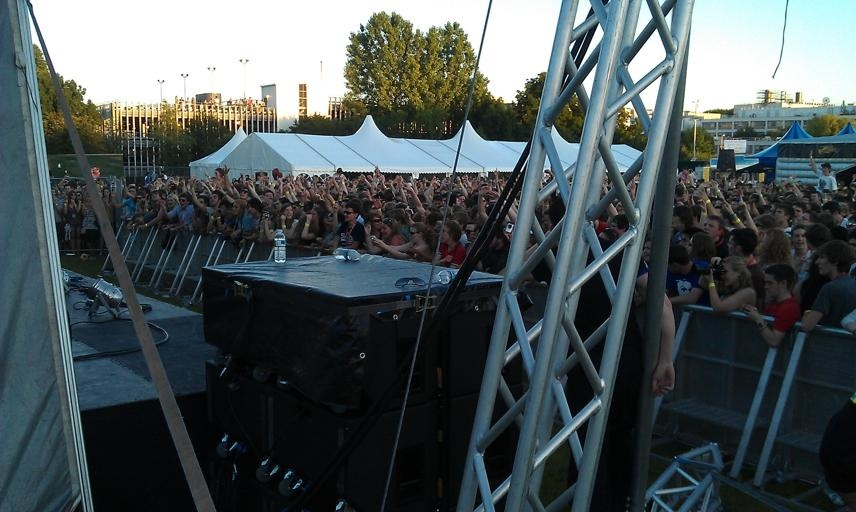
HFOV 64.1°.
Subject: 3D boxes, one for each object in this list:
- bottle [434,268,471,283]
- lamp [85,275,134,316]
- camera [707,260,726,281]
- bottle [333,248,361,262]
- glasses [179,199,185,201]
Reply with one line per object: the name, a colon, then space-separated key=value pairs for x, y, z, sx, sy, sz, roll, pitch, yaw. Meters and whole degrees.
bottle: x=0.125 y=0.156 z=5.199 sx=0.147 sy=0.072 sz=0.111 roll=4 pitch=12 yaw=21
lamp: x=-3.402 y=0.422 z=7.208 sx=0.348 sy=0.354 sz=0.256 roll=8 pitch=23 yaw=-27
camera: x=2.972 y=0.149 z=7.096 sx=0.166 sy=0.277 sz=0.314 roll=6 pitch=15 yaw=23
bottle: x=-0.692 y=-0.013 z=6.058 sx=0.242 sy=0.089 sz=0.212 roll=-6 pitch=15 yaw=-22
glasses: x=-5.126 y=-1.168 z=14.325 sx=0.059 sy=0.042 sz=0.074 roll=0 pitch=2 yaw=4
